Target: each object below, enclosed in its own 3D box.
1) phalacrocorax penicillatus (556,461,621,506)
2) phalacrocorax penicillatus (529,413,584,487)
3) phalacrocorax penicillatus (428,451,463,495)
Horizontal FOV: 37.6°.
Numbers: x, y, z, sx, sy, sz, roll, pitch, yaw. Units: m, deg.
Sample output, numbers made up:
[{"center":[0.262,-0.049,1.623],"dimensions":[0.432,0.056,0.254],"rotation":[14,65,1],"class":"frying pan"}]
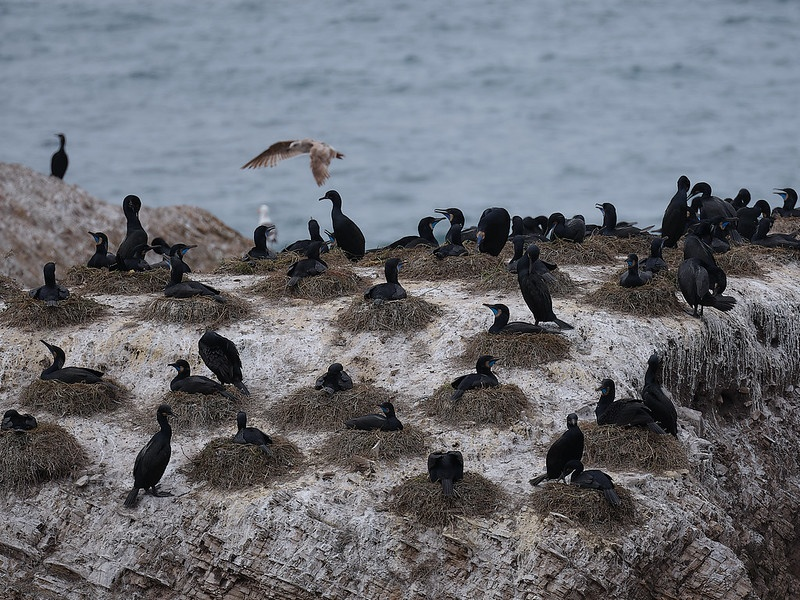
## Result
[{"center":[2.966,2.776,17.703],"dimensions":[1.060,0.588,0.435],"rotation":[2,-17,34],"class":"phalacrocorax penicillatus"},{"center":[2.511,2.278,18.004],"dimensions":[0.782,0.984,0.991],"rotation":[-2,10,19],"class":"phalacrocorax penicillatus"},{"center":[0.682,2.634,17.803],"dimensions":[0.522,0.557,0.577],"rotation":[-3,30,0],"class":"phalacrocorax penicillatus"}]
